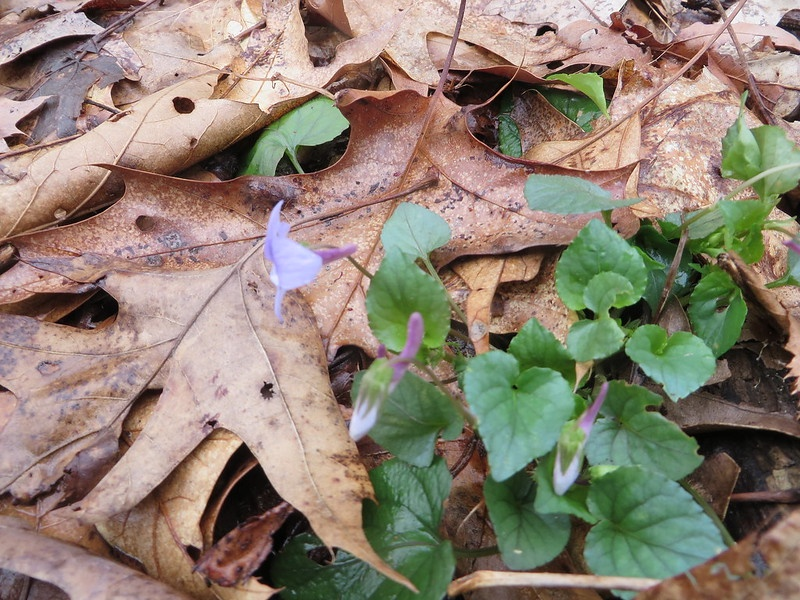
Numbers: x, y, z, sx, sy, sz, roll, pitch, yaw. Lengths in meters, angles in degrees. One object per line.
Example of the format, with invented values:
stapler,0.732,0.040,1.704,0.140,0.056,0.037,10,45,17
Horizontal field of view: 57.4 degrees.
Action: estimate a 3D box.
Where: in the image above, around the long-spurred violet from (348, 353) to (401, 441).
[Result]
long-spurred violet,-0.068,0.318,2.381,0.148,0.077,0.258,21,89,43
